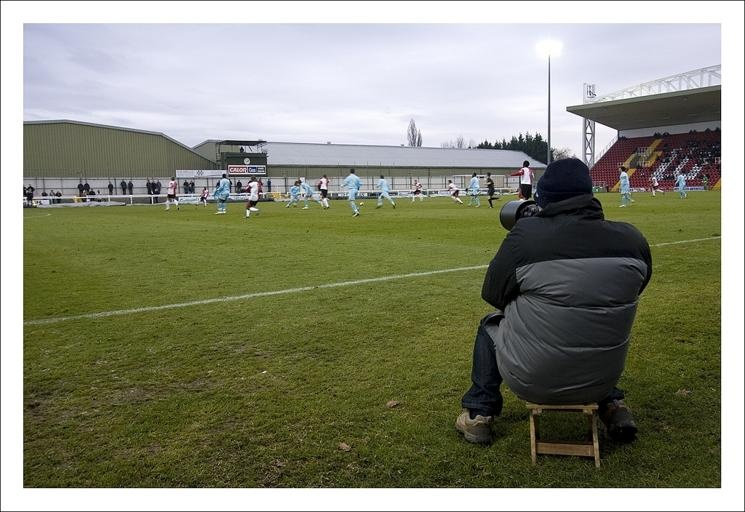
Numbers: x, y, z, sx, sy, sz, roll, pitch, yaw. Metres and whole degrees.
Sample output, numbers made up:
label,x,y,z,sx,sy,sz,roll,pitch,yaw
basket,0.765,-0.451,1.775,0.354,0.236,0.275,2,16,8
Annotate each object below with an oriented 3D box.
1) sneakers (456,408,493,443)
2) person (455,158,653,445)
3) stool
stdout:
label,x,y,z,sx,sy,sz,roll,pitch,yaw
sneakers,0.714,1.195,3.539,0.143,0.146,0.319,2,-2,-5
person,1.208,0.342,3.339,1.117,1.929,0.656,4,16,24
stool,1.346,1.224,3.444,0.450,0.345,0.399,-10,-25,18
